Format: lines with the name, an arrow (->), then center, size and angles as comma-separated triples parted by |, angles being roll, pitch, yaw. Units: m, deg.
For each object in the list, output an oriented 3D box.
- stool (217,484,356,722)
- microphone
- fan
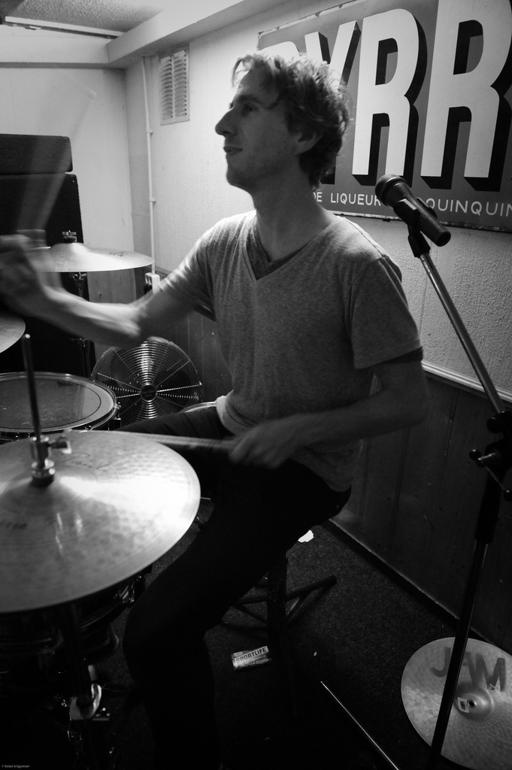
stool -> 0.085, 0.558, 1.474 | 0.306, 0.478, 0.339 | 1, 18, -13
microphone -> 0.272, -0.304, 0.984 | 0.066, 0.114, 0.217 | -2, 16, -12
fan -> -0.465, -0.010, 2.420 | 0.391, 0.415, 0.096 | -34, 20, -23
